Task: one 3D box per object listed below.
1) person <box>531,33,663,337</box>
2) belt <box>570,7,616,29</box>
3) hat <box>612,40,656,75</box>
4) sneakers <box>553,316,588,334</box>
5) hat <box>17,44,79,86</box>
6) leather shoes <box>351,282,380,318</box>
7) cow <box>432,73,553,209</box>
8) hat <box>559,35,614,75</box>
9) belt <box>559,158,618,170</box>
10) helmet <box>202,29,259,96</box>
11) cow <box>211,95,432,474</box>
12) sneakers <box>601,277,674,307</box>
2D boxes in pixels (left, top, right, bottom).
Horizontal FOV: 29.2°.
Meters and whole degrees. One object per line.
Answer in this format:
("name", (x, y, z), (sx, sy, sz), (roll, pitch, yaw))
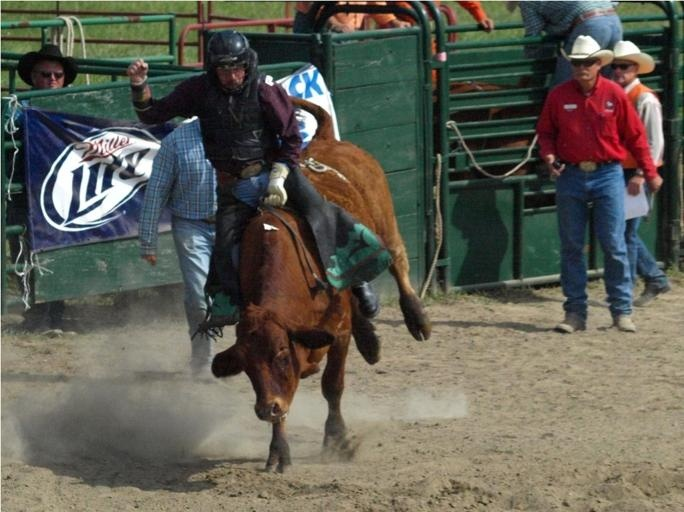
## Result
("person", (2.327, -0.665, 11.957), (1.061, 2.648, 0.436), (-1, 10, 7))
("belt", (2.501, -2.391, 13.011), (0.286, 0.073, 0.268), (-13, 3, 3))
("hat", (2.850, -1.909, 12.611), (0.403, 0.142, 0.339), (20, -19, -36))
("sneakers", (2.109, 0.607, 12.055), (0.127, 0.124, 0.327), (8, 2, 43))
("hat", (-2.896, -2.002, 13.075), (0.513, 0.195, 0.548), (5, -7, -19))
("leather shoes", (0.196, 0.320, 10.065), (0.180, 0.277, 0.142), (-19, -4, 11))
("cow", (1.569, -1.229, 13.442), (1.370, 1.145, 0.900), (0, -20, 11))
("hat", (2.249, -1.864, 11.890), (0.352, 0.268, 0.574), (1, 10, 18))
("belt", (2.273, -0.838, 11.923), (0.490, 0.087, 0.141), (0, 10, 7))
("helmet", (-0.791, -1.390, 9.437), (0.370, 0.465, 0.240), (-3, 10, -4))
("cow", (-0.108, 0.163, 9.661), (1.136, 2.620, 2.422), (0, 10, 13))
("sneakers", (2.967, 0.358, 12.945), (0.521, 0.218, 0.163), (-28, 19, -5))
